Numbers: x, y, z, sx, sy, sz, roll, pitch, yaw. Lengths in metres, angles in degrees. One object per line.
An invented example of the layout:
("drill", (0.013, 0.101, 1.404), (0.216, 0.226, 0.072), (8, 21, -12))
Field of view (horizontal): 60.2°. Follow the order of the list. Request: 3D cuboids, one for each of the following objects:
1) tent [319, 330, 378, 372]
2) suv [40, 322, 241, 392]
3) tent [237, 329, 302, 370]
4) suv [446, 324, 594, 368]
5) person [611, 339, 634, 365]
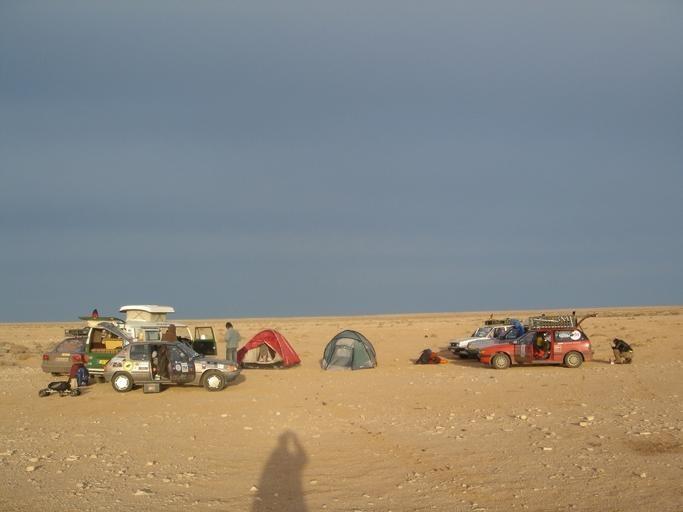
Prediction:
("tent", (0.338, 4.287, 26.810), (2.342, 1.642, 1.510), (-1, -1, 4))
("suv", (-7.221, 3.712, 22.220), (6.791, 2.410, 3.706), (-2, -2, 29))
("tent", (-3.506, 4.390, 27.811), (2.754, 1.738, 1.340), (0, -1, -7))
("suv", (8.408, 3.999, 25.769), (4.302, 1.487, 2.296), (1, -2, 6))
("person", (12.093, 4.123, 25.460), (0.763, 1.024, 1.066), (-1, -2, 24))
